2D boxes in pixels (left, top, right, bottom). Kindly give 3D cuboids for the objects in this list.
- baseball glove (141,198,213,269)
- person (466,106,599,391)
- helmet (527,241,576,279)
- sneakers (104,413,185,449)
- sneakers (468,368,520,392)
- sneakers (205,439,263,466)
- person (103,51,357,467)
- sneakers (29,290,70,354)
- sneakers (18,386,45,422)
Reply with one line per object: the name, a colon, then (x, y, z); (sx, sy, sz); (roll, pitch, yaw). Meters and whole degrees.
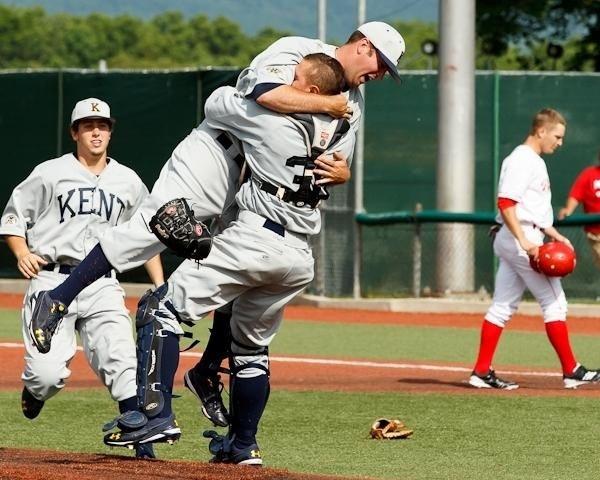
baseball glove: (-0.764, -0.058, 7.075); (0.287, 0.434, 0.182); (-33, -4, -7)
person: (1.987, 0.087, 9.673); (0.979, 2.474, 0.725); (2, 5, 14)
helmet: (2.133, 0.186, 9.501); (0.344, 0.271, 0.264); (7, 12, -3)
sneakers: (-1.020, 1.257, 7.323); (0.525, 0.284, 0.196); (1, -6, -11)
sneakers: (1.687, 1.233, 9.755); (0.408, 0.208, 0.176); (1, -1, -2)
sneakers: (-0.450, 1.470, 7.675); (0.382, 0.182, 0.151); (9, 7, 36)
person: (-0.545, 0.155, 7.356); (1.465, 2.803, 0.491); (0, 5, -12)
sneakers: (-1.668, 0.548, 7.406); (0.234, 0.416, 0.183); (-1, 5, -22)
sneakers: (-1.985, 1.205, 8.203); (0.183, 0.245, 0.214); (4, -11, -26)
